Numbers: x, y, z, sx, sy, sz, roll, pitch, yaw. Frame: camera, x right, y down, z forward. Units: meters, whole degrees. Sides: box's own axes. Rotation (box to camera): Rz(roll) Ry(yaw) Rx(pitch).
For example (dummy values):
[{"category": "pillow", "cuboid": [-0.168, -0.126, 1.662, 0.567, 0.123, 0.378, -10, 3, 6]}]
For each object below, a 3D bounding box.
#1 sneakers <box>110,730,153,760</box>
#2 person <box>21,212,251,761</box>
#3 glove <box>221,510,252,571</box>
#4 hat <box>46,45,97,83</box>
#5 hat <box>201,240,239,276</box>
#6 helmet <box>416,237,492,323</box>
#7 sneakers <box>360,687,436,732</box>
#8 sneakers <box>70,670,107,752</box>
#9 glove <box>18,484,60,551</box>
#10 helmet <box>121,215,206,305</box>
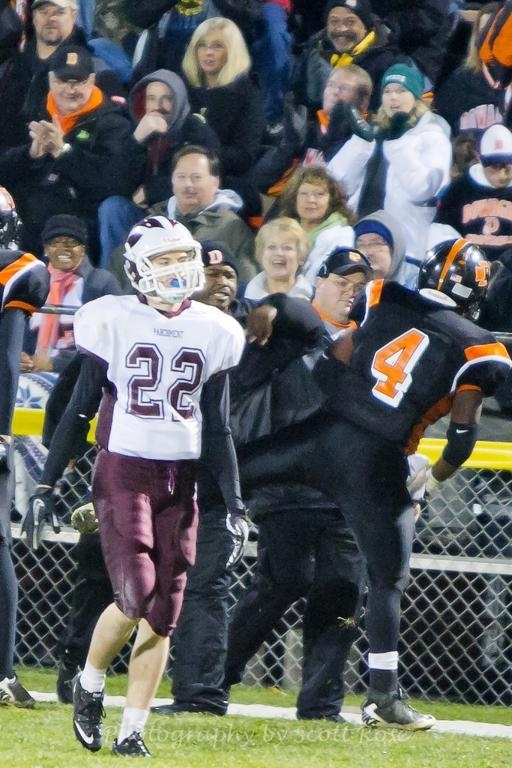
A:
[{"category": "sneakers", "cuboid": [-0.402, 1.148, 3.734, 0.171, 0.068, 0.051, 1, -5, 0]}, {"category": "person", "cuboid": [-0.356, 0.317, 3.906, 0.692, 1.721, 0.764, 7, 12, -18]}, {"category": "glove", "cuboid": [-0.089, 0.547, 4.130, 0.109, 0.203, 0.079, -16, 25, -42]}, {"category": "hat", "cuboid": [-1.068, -1.812, 6.684, 0.206, 0.112, 0.242, 2, 13, -4]}, {"category": "hat", "cuboid": [-0.169, -0.533, 4.903, 0.125, 0.115, 0.146, 3, -8, 13]}, {"category": "helmet", "cuboid": [0.797, -0.442, 4.810, 0.326, 0.298, 0.403, 17, 13, 30]}, {"category": "sneakers", "cuboid": [0.510, 1.235, 4.440, 0.384, 0.184, 0.118, 1, -6, -3]}, {"category": "sneakers", "cuboid": [-0.559, 1.071, 3.838, 0.120, 0.222, 0.155, 9, 11, -7]}, {"category": "glove", "cuboid": [-0.770, 0.475, 4.162, 0.104, 0.283, 0.124, 15, 41, 5]}, {"category": "helmet", "cuboid": [-0.332, -0.417, 3.971, 0.277, 0.258, 0.341, -8, 21, -32]}]
